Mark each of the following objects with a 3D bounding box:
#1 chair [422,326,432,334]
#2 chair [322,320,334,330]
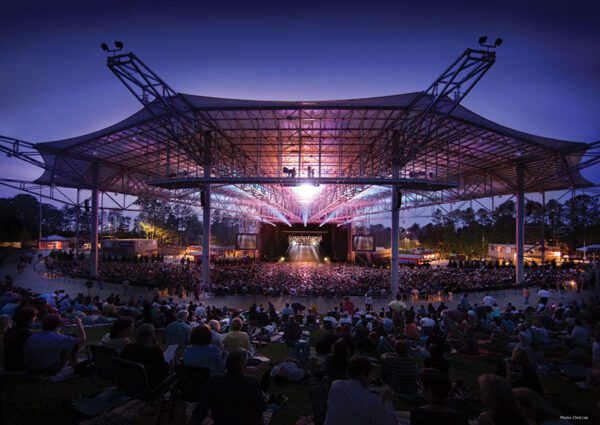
[{"bbox_3d":[5.822,5.350,21.294,0.446,0.264,0.401,3,-10,-17],"label":"chair"},{"bbox_3d":[1.380,5.586,23.210,0.596,0.521,0.486,4,7,11],"label":"chair"}]
